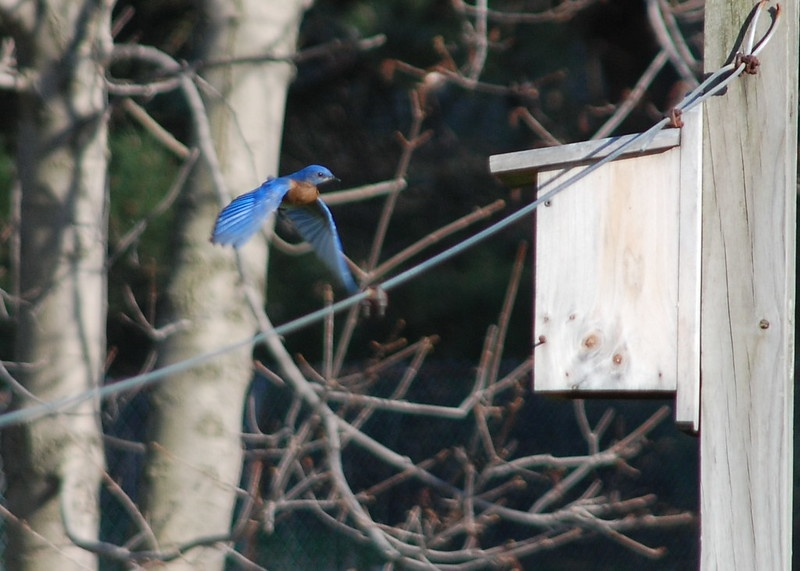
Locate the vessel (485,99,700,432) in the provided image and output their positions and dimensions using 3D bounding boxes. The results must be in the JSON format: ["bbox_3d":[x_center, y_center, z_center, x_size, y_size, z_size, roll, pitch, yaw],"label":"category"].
[{"bbox_3d":[1.234,-0.151,15.614,0.988,1.745,1.197,-3,-3,20],"label":"vessel"}]
